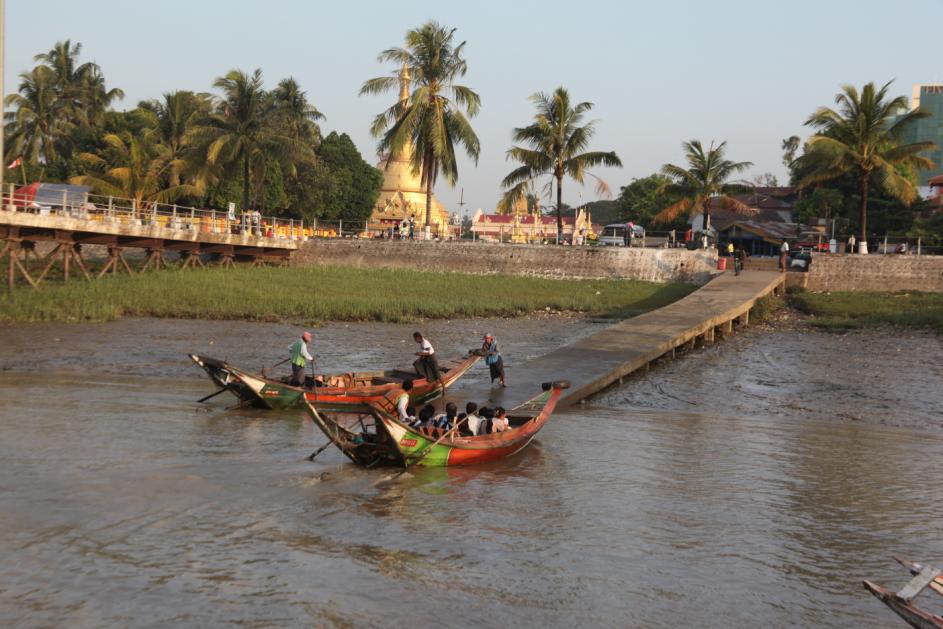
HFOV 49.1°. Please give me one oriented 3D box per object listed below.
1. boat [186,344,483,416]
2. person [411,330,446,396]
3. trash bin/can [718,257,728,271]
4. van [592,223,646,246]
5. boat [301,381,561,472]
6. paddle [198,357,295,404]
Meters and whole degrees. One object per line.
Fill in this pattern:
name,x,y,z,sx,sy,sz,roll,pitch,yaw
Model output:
boat,-3.634,1.698,24.996,8.430,1.256,2.235,0,7,-20
person,-1.254,1.302,27.443,0.825,0.578,1.650,6,40,-9
trash bin/can,12.172,-2.467,50.239,0.697,0.634,0.636,0,0,-6
van,8.697,-4.706,61.228,2.496,1.784,3.687,-2,-5,21
boat,0.084,2.493,23.005,7.202,1.673,2.107,3,2,-40
paddle,-5.457,1.651,24.651,2.134,0.630,1.194,29,-2,-29
